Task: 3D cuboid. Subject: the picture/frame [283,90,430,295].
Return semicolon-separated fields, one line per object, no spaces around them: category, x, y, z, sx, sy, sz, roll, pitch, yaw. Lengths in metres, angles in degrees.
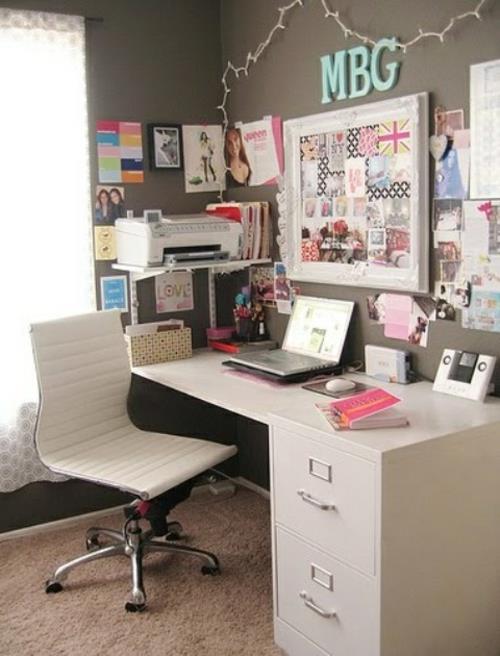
picture/frame;0.389;-0.495;1.932;0.069;0.706;0.840;-4;6;-28

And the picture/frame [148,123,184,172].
picture/frame;-0.407;-0.859;2.551;0.225;0.260;0.035;-9;12;-40

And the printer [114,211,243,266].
printer;-0.295;-0.368;2.263;0.535;0.226;0.310;-3;5;-9

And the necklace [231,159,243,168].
necklace;-0.069;-0.811;2.653;0.015;0.043;0.043;-1;-1;-41

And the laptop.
laptop;0.165;-0.036;2.027;0.366;0.243;0.365;-12;13;-33
